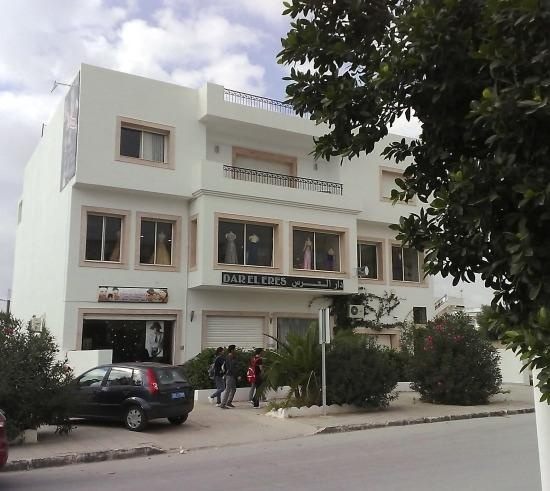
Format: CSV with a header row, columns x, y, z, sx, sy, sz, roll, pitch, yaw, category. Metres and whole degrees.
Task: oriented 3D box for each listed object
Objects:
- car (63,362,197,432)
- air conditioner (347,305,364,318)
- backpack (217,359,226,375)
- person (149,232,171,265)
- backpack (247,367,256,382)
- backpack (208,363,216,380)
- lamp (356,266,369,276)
x,y,z,sx,sy,sz,roll,pitch,yaw,category
-3.307,3.432,12.960,2.287,1.193,1.423,-2,-9,28,car
3.650,2.990,25.014,0.882,0.599,0.303,7,-10,-39,air conditioner
-1.614,3.712,16.933,0.088,0.414,0.261,5,4,-14,backpack
-4.503,0.134,22.099,0.616,1.418,0.779,-9,-7,32,person
-0.704,3.995,17.104,0.243,0.452,0.304,-1,-8,2,backpack
-1.933,3.873,17.149,0.169,0.459,0.558,1,-9,-7,backpack
3.890,1.011,24.654,0.516,0.621,0.471,-2,-22,13,lamp
